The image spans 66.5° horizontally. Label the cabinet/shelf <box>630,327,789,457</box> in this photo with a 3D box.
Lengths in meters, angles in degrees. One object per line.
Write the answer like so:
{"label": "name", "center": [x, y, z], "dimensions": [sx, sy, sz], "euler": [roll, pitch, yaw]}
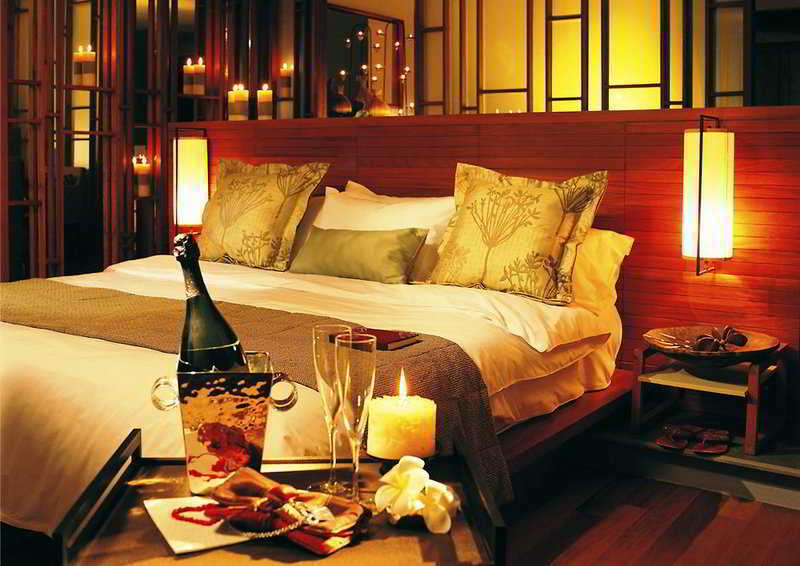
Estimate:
{"label": "cabinet/shelf", "center": [1.400, 0.415, 2.728], "dimensions": [0.572, 0.474, 0.552], "euler": [6, 11, 32]}

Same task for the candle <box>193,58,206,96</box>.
{"label": "candle", "center": [-1.595, -1.636, 4.841], "dimensions": [0.098, 0.323, 0.241], "euler": [-3, 10, -16]}

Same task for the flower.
{"label": "flower", "center": [0.032, 0.381, 1.058], "dimensions": [0.135, 0.065, 0.122], "euler": [-21, 50, -25]}

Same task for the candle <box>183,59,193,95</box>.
{"label": "candle", "center": [-1.684, -1.641, 4.840], "dimensions": [0.082, 0.307, 0.213], "euler": [-4, 11, -20]}

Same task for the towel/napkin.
{"label": "towel/napkin", "center": [-0.183, 0.342, 0.984], "dimensions": [0.190, 0.047, 0.128], "euler": [10, 13, 21]}

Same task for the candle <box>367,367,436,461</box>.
{"label": "candle", "center": [0.003, 0.257, 1.225], "dimensions": [0.135, 0.134, 0.126], "euler": [-1, 9, -6]}

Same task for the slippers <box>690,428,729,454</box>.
{"label": "slippers", "center": [1.301, 0.661, 2.546], "dimensions": [0.126, 0.068, 0.175], "euler": [7, 12, 36]}

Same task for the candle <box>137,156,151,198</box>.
{"label": "candle", "center": [-1.970, -0.812, 4.669], "dimensions": [0.113, 0.317, 0.079], "euler": [-4, 11, -23]}

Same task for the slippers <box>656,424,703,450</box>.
{"label": "slippers", "center": [1.179, 0.627, 2.590], "dimensions": [0.126, 0.036, 0.115], "euler": [4, 14, 41]}

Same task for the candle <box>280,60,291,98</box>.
{"label": "candle", "center": [-0.929, -1.636, 4.951], "dimensions": [0.118, 0.268, 0.053], "euler": [0, 10, -3]}

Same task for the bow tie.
{"label": "bow tie", "center": [-0.189, 0.363, 0.990], "dimensions": [0.187, 0.046, 0.130], "euler": [11, 14, 22]}

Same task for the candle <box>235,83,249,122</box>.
{"label": "candle", "center": [-1.269, -1.444, 4.858], "dimensions": [0.097, 0.263, 0.056], "euler": [-2, 11, -10]}
